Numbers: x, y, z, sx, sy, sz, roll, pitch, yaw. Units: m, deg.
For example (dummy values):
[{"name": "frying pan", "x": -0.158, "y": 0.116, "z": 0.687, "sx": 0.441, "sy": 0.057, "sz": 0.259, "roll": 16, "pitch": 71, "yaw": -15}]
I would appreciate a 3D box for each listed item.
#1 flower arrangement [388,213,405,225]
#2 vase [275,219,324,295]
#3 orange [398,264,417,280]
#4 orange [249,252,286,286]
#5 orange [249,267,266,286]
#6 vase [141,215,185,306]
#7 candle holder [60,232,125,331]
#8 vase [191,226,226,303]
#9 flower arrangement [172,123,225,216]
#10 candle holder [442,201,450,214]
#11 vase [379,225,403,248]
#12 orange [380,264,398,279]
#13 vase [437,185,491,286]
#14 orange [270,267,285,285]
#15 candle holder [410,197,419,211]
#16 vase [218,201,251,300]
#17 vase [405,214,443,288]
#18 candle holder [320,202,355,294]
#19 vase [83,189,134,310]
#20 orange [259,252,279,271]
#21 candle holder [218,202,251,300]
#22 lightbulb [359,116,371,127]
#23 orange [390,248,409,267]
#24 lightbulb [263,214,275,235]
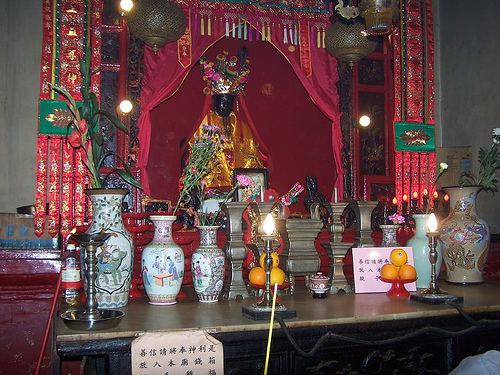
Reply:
[{"name": "flower arrangement", "x": 0.911, "y": 0.195, "z": 3.327, "sx": 0.078, "sy": 0.061, "sz": 0.081, "roll": 1, "pitch": -6, "yaw": 0}, {"name": "vase", "x": 0.285, "y": 0.364, "z": 3.070, "sx": 0.227, "sy": 0.429, "sz": 0.164, "roll": -1, "pitch": 3, "yaw": -13}, {"name": "orange", "x": 0.845, "y": 0.457, "z": 2.931, "sx": 0.073, "sy": 0.092, "sz": 0.077, "roll": 0, "pitch": -12, "yaw": 3}, {"name": "orange", "x": 0.078, "y": 0.432, "z": 2.848, "sx": 0.181, "sy": 0.176, "sz": 0.442, "roll": -2, "pitch": -8, "yaw": 0}, {"name": "orange", "x": 0.035, "y": 0.461, "z": 2.816, "sx": 0.078, "sy": 0.097, "sz": 0.081, "roll": 1, "pitch": -14, "yaw": -8}, {"name": "vase", "x": -0.473, "y": 0.401, "z": 2.937, "sx": 0.227, "sy": 0.479, "sz": 0.250, "roll": -6, "pitch": -6, "yaw": -2}, {"name": "candle holder", "x": -0.712, "y": 0.440, "z": 2.435, "sx": 0.221, "sy": 0.487, "sz": 0.231, "roll": 2, "pitch": 0, "yaw": -18}, {"name": "vase", "x": -0.228, "y": 0.429, "z": 2.886, "sx": 0.236, "sy": 0.487, "sz": 0.128, "roll": 2, "pitch": -6, "yaw": -20}, {"name": "flower arrangement", "x": -0.473, "y": -0.122, "z": 4.685, "sx": 0.295, "sy": 0.874, "sz": 0.356, "roll": 30, "pitch": 3, "yaw": 20}, {"name": "candle holder", "x": 1.294, "y": 0.134, "z": 3.590, "sx": 0.062, "sy": 0.075, "sz": 0.064, "roll": 0, "pitch": 0, "yaw": 41}, {"name": "vase", "x": 0.818, "y": 0.319, "z": 3.200, "sx": 0.101, "sy": 0.116, "sz": 0.101, "roll": 22, "pitch": -5, "yaw": -34}, {"name": "orange", "x": 0.757, "y": 0.458, "z": 2.951, "sx": 0.073, "sy": 0.088, "sz": 0.072, "roll": 18, "pitch": -22, "yaw": -37}, {"name": "vase", "x": 1.294, "y": 0.306, "z": 3.402, "sx": 0.311, "sy": 0.724, "sz": 0.277, "roll": 0, "pitch": 4, "yaw": -8}, {"name": "orange", "x": 0.122, "y": 0.451, "z": 2.771, "sx": 0.075, "sy": 0.094, "sz": 0.078, "roll": -1, "pitch": -9, "yaw": -11}, {"name": "candle holder", "x": 1.084, "y": 0.111, "z": 3.567, "sx": 0.076, "sy": 0.086, "sz": 0.080, "roll": 0, "pitch": -2, "yaw": 15}, {"name": "vase", "x": -0.100, "y": 0.334, "z": 3.038, "sx": 0.149, "sy": 0.562, "sz": 0.153, "roll": 0, "pitch": 2, "yaw": -19}, {"name": "vase", "x": 1.023, "y": 0.387, "z": 3.180, "sx": 0.172, "sy": 0.484, "sz": 0.182, "roll": 0, "pitch": 4, "yaw": -9}, {"name": "candle holder", "x": 0.507, "y": 0.347, "z": 3.159, "sx": 0.202, "sy": 0.526, "sz": 0.198, "roll": -2, "pitch": -7, "yaw": 7}, {"name": "vase", "x": -0.774, "y": 0.316, "z": 2.911, "sx": 0.278, "sy": 0.616, "sz": 0.282, "roll": 0, "pitch": 1, "yaw": -35}, {"name": "orange", "x": 0.103, "y": 0.382, "z": 2.874, "sx": 0.100, "sy": 0.126, "sz": 0.104, "roll": 4, "pitch": -7, "yaw": 0}, {"name": "candle holder", "x": -0.097, "y": 0.338, "z": 3.015, "sx": 0.145, "sy": 0.548, "sz": 0.149, "roll": 0, "pitch": 2, "yaw": -19}, {"name": "lightbulb", "x": 1.274, "y": -0.743, "z": 6.053, "sx": 0.114, "sy": 0.130, "sz": 0.254, "roll": -3, "pitch": -8, "yaw": 16}, {"name": "orange", "x": 0.816, "y": 0.387, "z": 2.972, "sx": 0.082, "sy": 0.088, "sz": 0.083, "roll": -1, "pitch": -4, "yaw": 30}, {"name": "lightbulb", "x": 0.084, "y": 0.179, "z": 2.643, "sx": 0.051, "sy": 0.109, "sz": 0.150, "roll": -1, "pitch": -7, "yaw": 1}]
